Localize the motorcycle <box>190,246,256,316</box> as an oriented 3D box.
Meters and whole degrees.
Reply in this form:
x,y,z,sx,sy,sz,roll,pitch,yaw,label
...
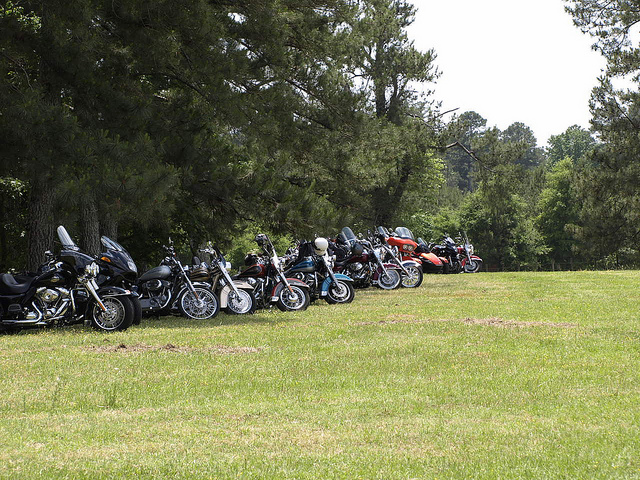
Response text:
x,y,z,sx,sy,sz,roll,pitch,yaw,label
-2.174,1.077,19.010,1.665,1.203,1.083,-1,0,0,motorcycle

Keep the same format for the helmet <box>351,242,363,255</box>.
x,y,z,sx,sy,sz,roll,pitch,yaw,label
1.059,0.234,23.691,0.257,0.285,0.262,6,10,19,helmet

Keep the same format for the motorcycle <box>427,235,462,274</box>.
x,y,z,sx,sy,sz,roll,pitch,yaw,label
5.266,0.728,34.099,1.041,1.540,1.798,1,8,14,motorcycle

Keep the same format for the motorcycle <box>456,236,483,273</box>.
x,y,z,sx,sy,sz,roll,pitch,yaw,label
6.507,0.729,34.742,1.731,1.244,1.020,-1,-1,10,motorcycle

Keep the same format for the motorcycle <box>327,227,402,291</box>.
x,y,z,sx,sy,sz,roll,pitch,yaw,label
1.118,0.617,24.909,2.635,1.714,1.577,3,0,19,motorcycle

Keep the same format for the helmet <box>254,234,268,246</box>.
x,y,z,sx,sy,sz,roll,pitch,yaw,label
-1.413,-0.075,19.793,0.212,0.278,0.263,25,-22,50,helmet

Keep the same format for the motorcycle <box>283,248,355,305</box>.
x,y,z,sx,sy,sz,roll,pitch,yaw,label
0.021,1.001,21.087,1.656,1.135,1.098,0,1,-3,motorcycle
